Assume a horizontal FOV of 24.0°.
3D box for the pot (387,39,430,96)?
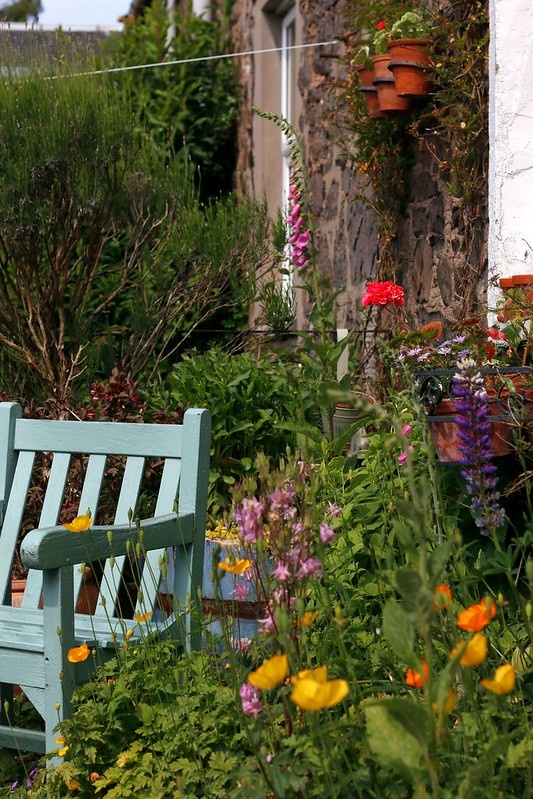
[{"bbox_3d":[0.465,-1.059,3.996,0.154,0.140,0.159,-2,-3,0],"label":"pot"}]
